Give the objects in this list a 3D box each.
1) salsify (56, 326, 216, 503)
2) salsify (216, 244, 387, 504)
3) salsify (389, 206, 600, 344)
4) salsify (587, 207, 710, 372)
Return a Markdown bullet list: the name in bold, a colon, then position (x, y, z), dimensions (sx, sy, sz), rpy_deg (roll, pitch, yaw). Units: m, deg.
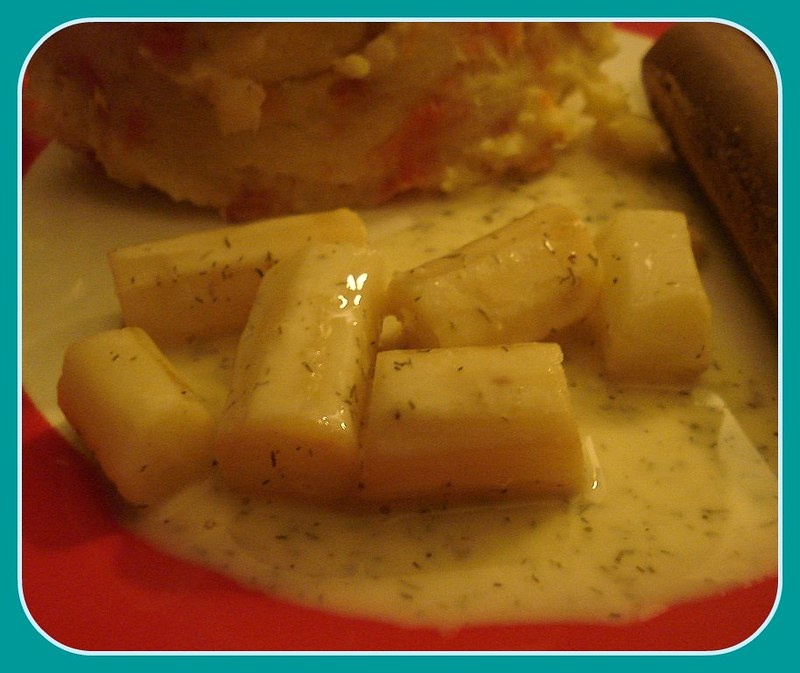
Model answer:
- **salsify**: position (-0.238, 0.067, 0.755), dimensions (0.104, 0.060, 0.182), rpy_deg (-31, 57, -18)
- **salsify**: position (-0.085, 0.030, 0.742), dimensions (0.123, 0.094, 0.220), rpy_deg (3, 53, 6)
- **salsify**: position (0.101, -0.043, 0.793), dimensions (0.200, 0.085, 0.110), rpy_deg (-29, 59, -17)
- **salsify**: position (0.239, -0.040, 0.819), dimensions (0.109, 0.087, 0.163), rpy_deg (-1, 54, 3)
